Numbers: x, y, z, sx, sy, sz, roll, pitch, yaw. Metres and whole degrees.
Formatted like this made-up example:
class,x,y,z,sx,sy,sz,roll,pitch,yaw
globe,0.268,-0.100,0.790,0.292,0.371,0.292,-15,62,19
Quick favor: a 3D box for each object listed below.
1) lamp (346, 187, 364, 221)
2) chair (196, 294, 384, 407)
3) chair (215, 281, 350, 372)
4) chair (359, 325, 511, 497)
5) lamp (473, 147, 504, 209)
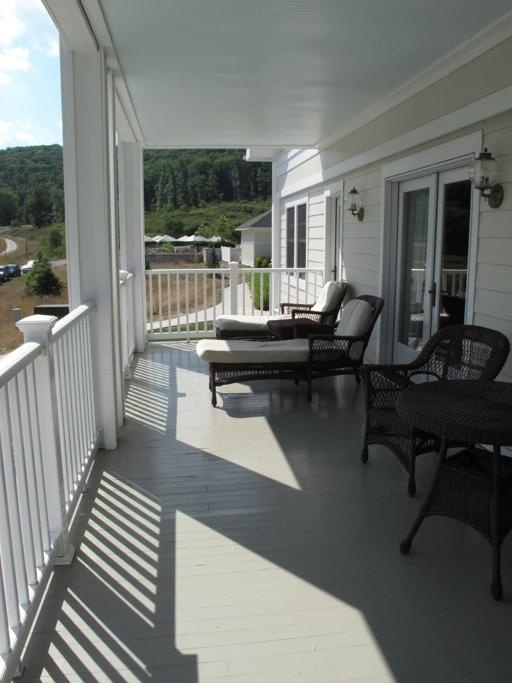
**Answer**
class,x,y,z,sx,sy,sz,roll,pitch,yaw
lamp,1.207,-1.681,6.263,0.190,0.397,0.425,1,8,2
chair,0.387,0.028,5.047,1.747,0.930,0.741,-2,2,-4
chair,0.342,-0.212,6.301,1.349,0.894,0.900,0,14,-5
chair,1.072,0.336,3.356,0.931,1.244,0.896,-4,10,-23
lamp,1.541,-1.078,3.439,0.203,0.350,0.291,1,8,6
